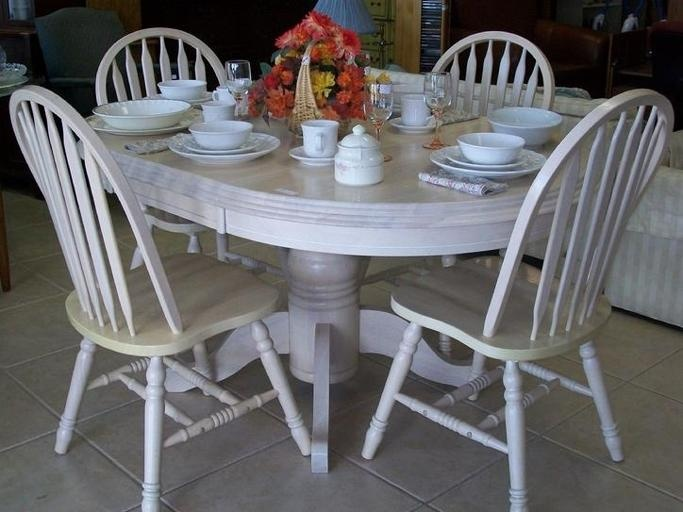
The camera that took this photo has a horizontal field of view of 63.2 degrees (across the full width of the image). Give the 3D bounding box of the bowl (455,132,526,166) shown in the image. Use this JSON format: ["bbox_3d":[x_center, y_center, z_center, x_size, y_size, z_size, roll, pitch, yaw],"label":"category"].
[{"bbox_3d":[0.397,-0.295,1.499,0.133,0.048,0.131,-1,22,0],"label":"bowl"}]

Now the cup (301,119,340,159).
[{"bbox_3d":[-0.063,-0.329,1.571,0.116,0.100,0.141,-3,25,-4],"label":"cup"}]

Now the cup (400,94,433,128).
[{"bbox_3d":[0.249,-0.503,1.910,0.117,0.092,0.089,18,31,32],"label":"cup"}]

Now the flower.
[{"bbox_3d":[-0.047,-0.596,1.799,0.415,0.330,0.410,5,40,12],"label":"flower"}]

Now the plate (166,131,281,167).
[{"bbox_3d":[-0.358,-0.304,1.604,0.182,0.031,0.180,2,26,8],"label":"plate"}]

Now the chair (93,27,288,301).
[{"bbox_3d":[-0.848,-0.468,2.846,0.726,1.076,0.779,1,-1,-21],"label":"chair"}]

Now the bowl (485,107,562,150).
[{"bbox_3d":[0.611,-0.428,1.782,0.199,0.074,0.197,-1,32,0],"label":"bowl"}]

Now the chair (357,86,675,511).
[{"bbox_3d":[0.507,0.121,1.526,0.705,1.143,0.616,-25,38,-38],"label":"chair"}]

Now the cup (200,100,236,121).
[{"bbox_3d":[-0.420,-0.485,1.847,0.095,0.064,0.079,8,22,12],"label":"cup"}]
